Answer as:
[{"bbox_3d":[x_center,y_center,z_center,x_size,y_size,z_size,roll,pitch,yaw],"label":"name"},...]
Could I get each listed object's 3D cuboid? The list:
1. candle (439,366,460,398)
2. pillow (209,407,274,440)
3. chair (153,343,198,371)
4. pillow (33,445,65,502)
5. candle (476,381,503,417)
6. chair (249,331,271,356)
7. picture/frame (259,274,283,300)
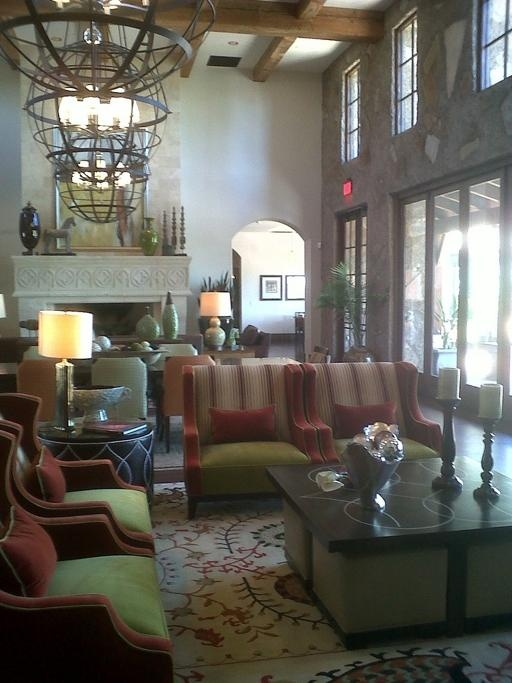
[{"bbox_3d":[0.864,0.190,2.622,0.088,0.143,0.110,-2,3,15],"label":"candle"},{"bbox_3d":[-0.086,0.538,3.750,0.412,0.222,0.155,-3,3,-6],"label":"pillow"},{"bbox_3d":[-0.823,0.128,5.921,0.308,0.381,0.324,1,8,-5],"label":"chair"},{"bbox_3d":[-0.811,0.523,2.277,0.064,0.130,0.216,-23,10,-9],"label":"pillow"},{"bbox_3d":[1.005,0.259,2.500,0.083,0.155,0.106,-1,4,26],"label":"candle"},{"bbox_3d":[0.094,0.062,10.106,0.383,0.480,0.358,-1,1,-6],"label":"chair"},{"bbox_3d":[0.416,-1.655,17.297,0.799,0.860,0.066,-1,3,-12],"label":"picture/frame"}]
